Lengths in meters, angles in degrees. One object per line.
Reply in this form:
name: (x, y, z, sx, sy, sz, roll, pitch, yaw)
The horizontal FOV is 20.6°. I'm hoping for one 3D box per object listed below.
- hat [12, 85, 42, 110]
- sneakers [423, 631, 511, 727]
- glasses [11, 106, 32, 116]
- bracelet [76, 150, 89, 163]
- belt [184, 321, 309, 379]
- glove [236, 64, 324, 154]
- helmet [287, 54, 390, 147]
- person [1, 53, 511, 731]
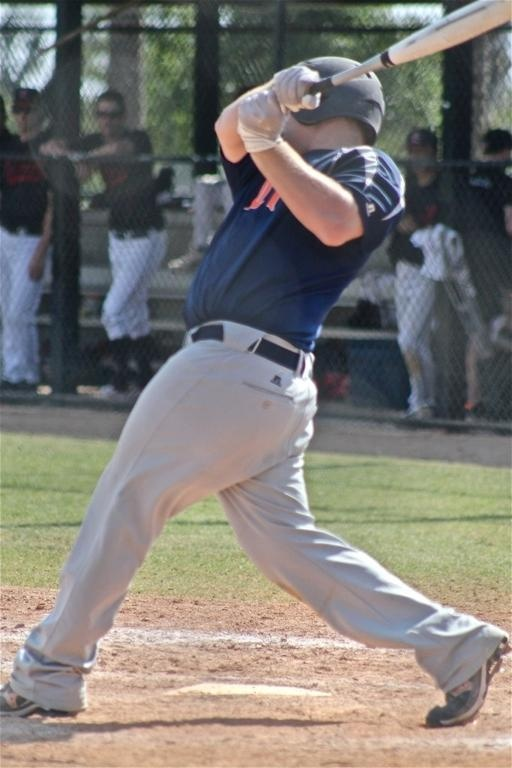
hat: (-1.014, -1.287, 6.274, 0.093, 0.098, 0.118, 0, -11, 9)
sneakers: (0.531, 0.764, 3.565, 0.082, 0.242, 0.179, 43, -4, 0)
glasses: (-1.038, -1.234, 6.297, 0.047, 0.027, 0.058, -15, -32, 40)
bracelet: (-0.767, -1.019, 6.257, 0.046, 0.068, 0.027, -4, 0, 26)
belt: (-0.021, -0.090, 3.417, 0.286, 0.137, 0.132, 1, 11, -1)
glove: (0.050, -0.630, 3.215, 0.175, 0.198, 0.113, 0, 11, -1)
helmet: (0.230, -0.705, 3.451, 0.216, 0.178, 0.159, 35, 11, 23)
person: (0.013, 0.037, 3.493, 1.230, 1.679, 0.438, 2, 11, 10)
